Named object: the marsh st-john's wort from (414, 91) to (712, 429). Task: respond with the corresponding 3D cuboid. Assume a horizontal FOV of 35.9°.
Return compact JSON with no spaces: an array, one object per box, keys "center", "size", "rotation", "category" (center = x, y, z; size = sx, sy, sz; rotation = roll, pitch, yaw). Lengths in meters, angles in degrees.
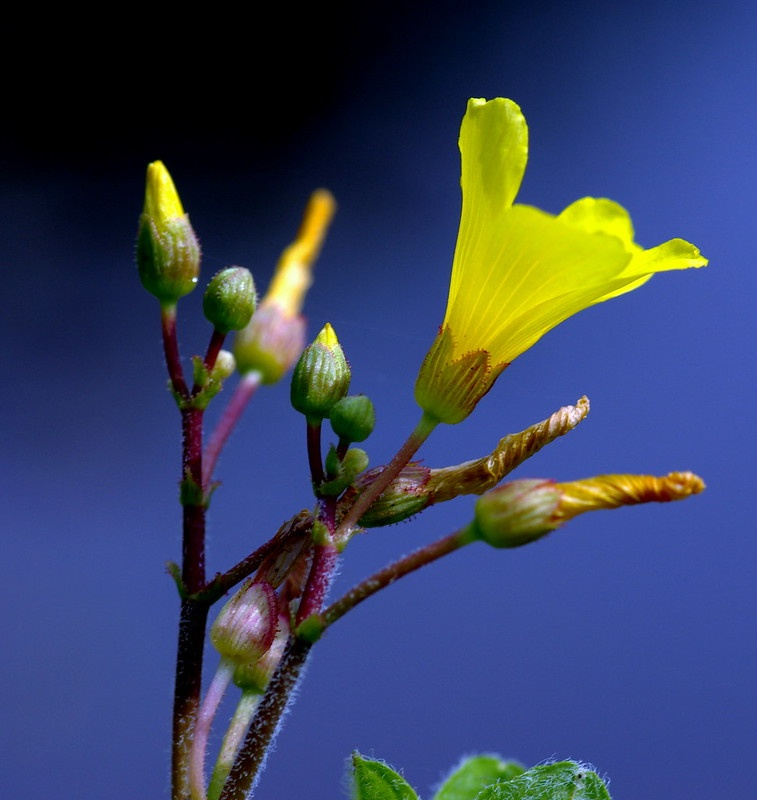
[{"center":[0.124,-0.118,1.005],"size":[0.252,0.182,0.217],"rotation":[-43,-33,23],"category":"marsh st-john's wort"}]
